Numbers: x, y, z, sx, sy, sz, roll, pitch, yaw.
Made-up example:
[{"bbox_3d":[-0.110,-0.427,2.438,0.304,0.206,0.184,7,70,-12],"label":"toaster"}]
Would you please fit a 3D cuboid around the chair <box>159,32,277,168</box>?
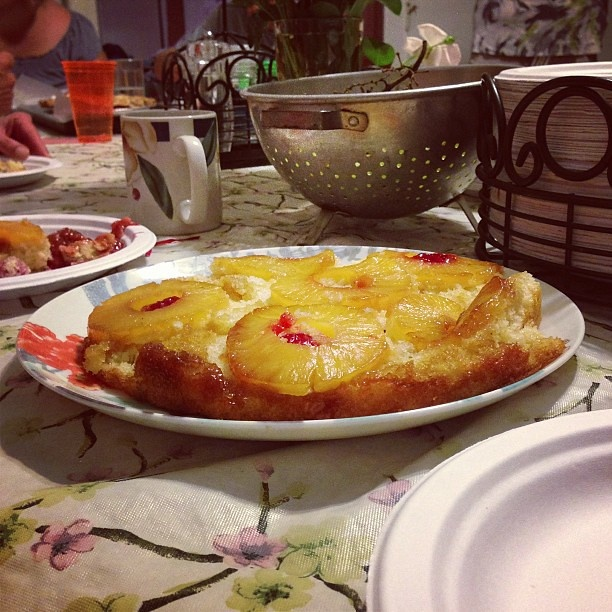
[{"bbox_3d":[-0.320,-0.520,1.690,0.420,0.310,0.209,-9,7,5],"label":"chair"}]
